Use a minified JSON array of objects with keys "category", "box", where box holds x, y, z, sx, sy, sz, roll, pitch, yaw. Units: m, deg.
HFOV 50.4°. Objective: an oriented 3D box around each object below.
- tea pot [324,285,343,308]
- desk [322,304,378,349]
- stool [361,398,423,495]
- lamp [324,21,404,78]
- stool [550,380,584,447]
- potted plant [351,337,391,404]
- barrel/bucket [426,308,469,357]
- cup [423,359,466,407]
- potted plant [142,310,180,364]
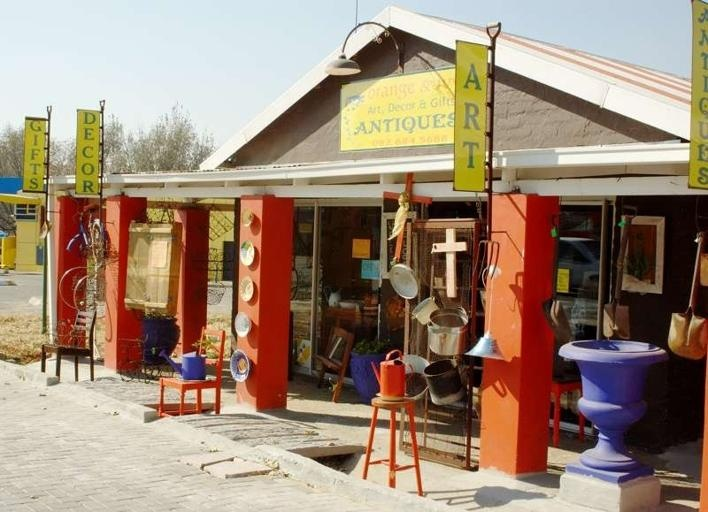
[{"category":"tea pot","box":[-0.391,0.732,13.528,0.330,0.378,0.236,4,-4,24]},{"category":"desk","box":[-0.074,1.160,13.180,0.213,0.617,1.291,2,0,-39]},{"category":"stool","box":[0.465,2.149,8.733,0.684,1.180,0.725,5,4,20]},{"category":"lamp","box":[-0.010,-3.050,11.064,1.152,0.740,1.120,2,-1,-43]},{"category":"stool","box":[2.933,2.052,10.215,0.393,0.973,0.480,3,8,-3]},{"category":"potted plant","box":[0.246,1.870,12.209,0.555,0.814,0.628,-3,11,9]},{"category":"barrel/bucket","box":[1.153,0.919,9.136,0.545,0.439,0.443,1,-1,-2]},{"category":"cup","box":[1.120,1.510,9.298,0.428,0.448,0.565,-21,15,-9]},{"category":"potted plant","box":[-3.528,1.403,13.778,0.713,1.281,0.669,9,7,44]}]
